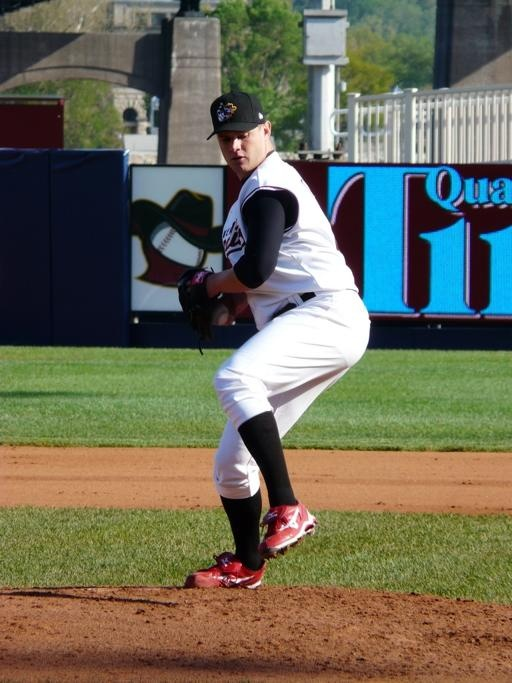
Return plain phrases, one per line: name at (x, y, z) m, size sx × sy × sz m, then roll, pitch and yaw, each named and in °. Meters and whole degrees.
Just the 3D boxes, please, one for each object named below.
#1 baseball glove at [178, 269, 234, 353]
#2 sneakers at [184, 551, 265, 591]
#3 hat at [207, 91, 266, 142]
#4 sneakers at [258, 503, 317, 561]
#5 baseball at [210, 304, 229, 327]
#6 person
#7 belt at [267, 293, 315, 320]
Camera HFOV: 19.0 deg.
baseball glove at (-0.262, -0.110, 7.320) m, size 0.176 × 0.429 × 0.224 m, roll -6°, pitch 4°, yaw 25°
sneakers at (-0.132, 1.075, 7.243) m, size 0.354 × 0.181 × 0.151 m, roll 2°, pitch -2°, yaw -4°
hat at (-0.094, -1.072, 7.160) m, size 0.226 × 0.213 × 0.349 m, roll -10°, pitch 11°, yaw 13°
sneakers at (0.146, 0.828, 7.009) m, size 0.137 × 0.199 × 0.401 m, roll -20°, pitch 3°, yaw 34°
baseball at (-0.162, -0.124, 7.298) m, size 0.063 × 0.102 × 0.034 m, roll 1°, pitch 9°, yaw 14°
person at (0.094, 0.150, 7.098) m, size 0.880 × 2.003 × 0.528 m, roll 0°, pitch 6°, yaw -2°
belt at (0.180, -0.175, 7.059) m, size 0.167 × 0.041 × 0.098 m, roll -38°, pitch -21°, yaw -16°
